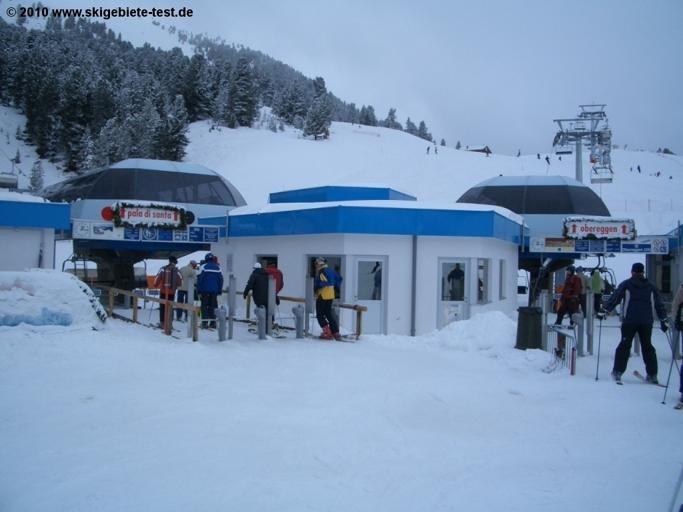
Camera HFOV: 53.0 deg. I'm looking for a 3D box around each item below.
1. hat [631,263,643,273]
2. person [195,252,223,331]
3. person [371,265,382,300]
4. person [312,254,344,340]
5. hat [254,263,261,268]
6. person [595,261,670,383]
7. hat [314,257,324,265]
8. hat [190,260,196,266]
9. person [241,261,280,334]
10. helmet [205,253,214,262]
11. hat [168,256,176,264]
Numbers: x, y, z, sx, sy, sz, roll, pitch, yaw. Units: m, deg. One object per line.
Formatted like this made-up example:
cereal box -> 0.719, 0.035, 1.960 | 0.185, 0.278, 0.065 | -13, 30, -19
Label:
hat -> 5.247, 0.200, 12.146 | 0.162, 0.161, 0.255 | 2, 0, 17
person -> -3.170, 0.819, 16.373 | 0.580, 1.725, 0.883 | -1, 10, -10
person -> 0.898, 0.623, 17.569 | 0.254, 0.931, 0.236 | 2, 10, 2
person -> -0.320, 0.936, 15.196 | 0.593, 1.818, 0.440 | 1, 10, -4
hat -> -1.909, 0.206, 15.497 | 0.141, 0.132, 0.109 | 5, 3, -26
person -> 5.158, 1.223, 12.022 | 1.237, 2.116, 0.996 | -6, 12, -35
hat -> -0.472, 0.102, 15.150 | 0.146, 0.151, 0.202 | -1, 1, -3
hat -> -3.700, 0.178, 17.206 | 0.131, 0.140, 0.235 | 13, -6, -19
person -> -1.861, 0.893, 16.066 | 0.884, 1.711, 2.206 | 0, 11, -5
helmet -> -3.169, 0.023, 16.301 | 0.143, 0.229, 0.209 | 3, 7, 2
hat -> -5.159, 0.093, 20.847 | 0.232, 0.297, 0.246 | 1, 0, 27
